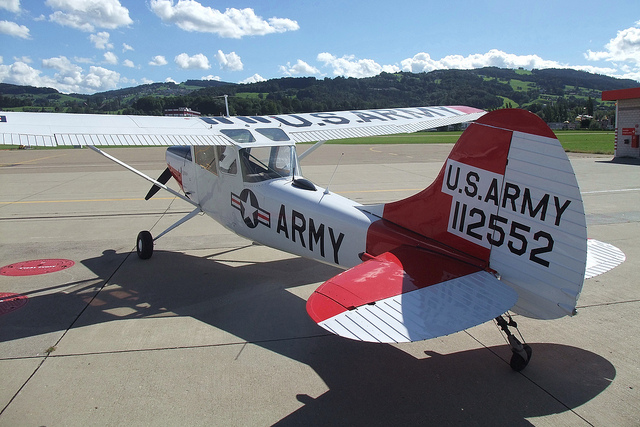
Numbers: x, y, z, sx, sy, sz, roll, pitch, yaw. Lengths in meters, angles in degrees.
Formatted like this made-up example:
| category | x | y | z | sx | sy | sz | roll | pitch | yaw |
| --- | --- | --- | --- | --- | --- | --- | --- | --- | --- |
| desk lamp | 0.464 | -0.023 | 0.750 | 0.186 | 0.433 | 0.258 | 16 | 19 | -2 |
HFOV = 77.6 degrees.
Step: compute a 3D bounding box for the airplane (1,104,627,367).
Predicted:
| category | x | y | z | sx | sy | sz | roll | pitch | yaw |
| --- | --- | --- | --- | --- | --- | --- | --- | --- | --- |
| airplane | -0.351 | -0.724 | 7.714 | 9.490 | 2.676 | 7.573 | 8 | 18 | 32 |
